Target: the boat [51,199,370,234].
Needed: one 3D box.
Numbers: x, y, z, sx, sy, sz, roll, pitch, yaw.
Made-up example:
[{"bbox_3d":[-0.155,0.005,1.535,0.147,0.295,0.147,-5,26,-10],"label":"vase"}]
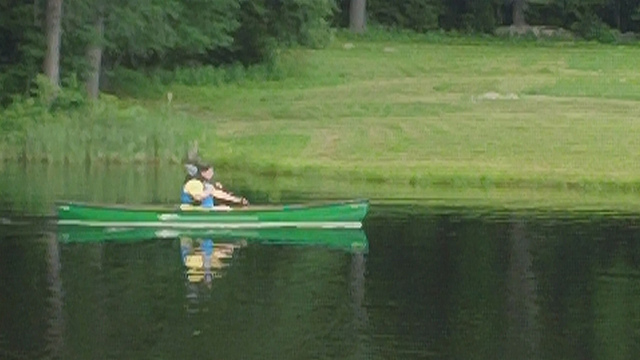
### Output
[{"bbox_3d":[-3.555,1.277,60.746,12.243,1.368,2.289,0,-2,-25],"label":"boat"}]
